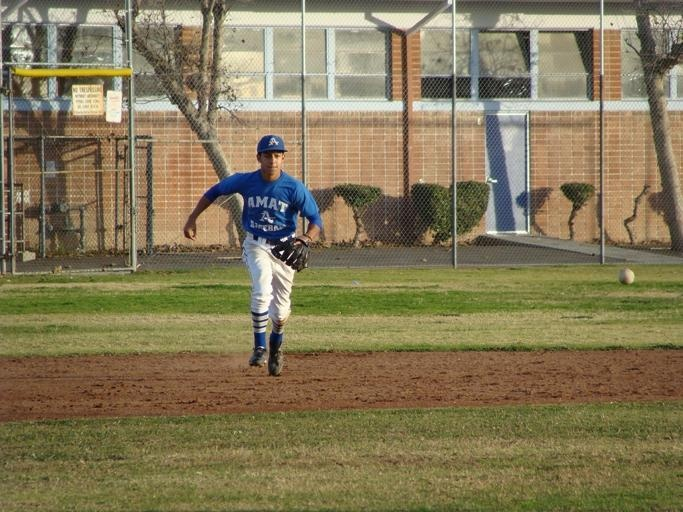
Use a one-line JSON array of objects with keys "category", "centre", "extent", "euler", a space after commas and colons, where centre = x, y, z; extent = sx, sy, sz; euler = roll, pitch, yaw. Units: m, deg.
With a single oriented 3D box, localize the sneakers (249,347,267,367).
[{"category": "sneakers", "centre": [-1.546, 1.889, 30.359], "extent": [0.329, 0.297, 0.276], "euler": [-2, 1, -4]}]
